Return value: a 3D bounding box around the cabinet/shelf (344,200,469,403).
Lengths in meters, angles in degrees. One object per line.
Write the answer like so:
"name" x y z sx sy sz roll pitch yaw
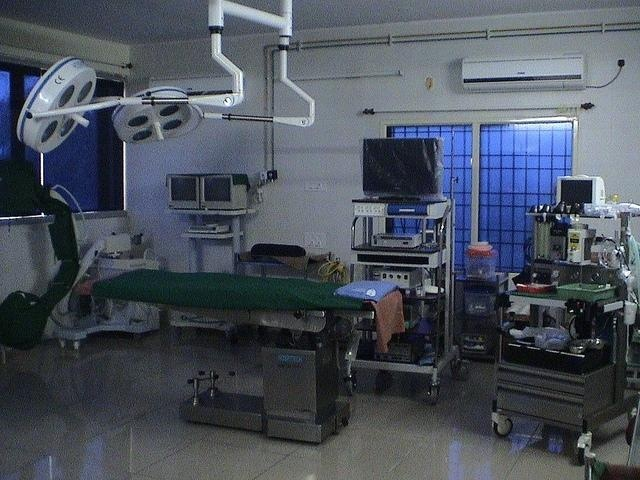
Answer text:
"cabinet/shelf" 0.621 0.334 4.566 0.764 1.382 0.787 2 5 27

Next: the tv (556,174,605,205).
"tv" 1.640 -0.316 3.777 0.210 0.205 0.215 1 5 29

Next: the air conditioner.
"air conditioner" 1.631 -1.344 4.761 0.784 0.294 0.292 2 6 16

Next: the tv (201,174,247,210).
"tv" -0.873 -0.438 5.514 0.323 0.269 0.334 0 2 14

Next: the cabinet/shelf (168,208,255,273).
"cabinet/shelf" -1.006 0.055 5.698 0.648 0.746 0.490 3 12 20
